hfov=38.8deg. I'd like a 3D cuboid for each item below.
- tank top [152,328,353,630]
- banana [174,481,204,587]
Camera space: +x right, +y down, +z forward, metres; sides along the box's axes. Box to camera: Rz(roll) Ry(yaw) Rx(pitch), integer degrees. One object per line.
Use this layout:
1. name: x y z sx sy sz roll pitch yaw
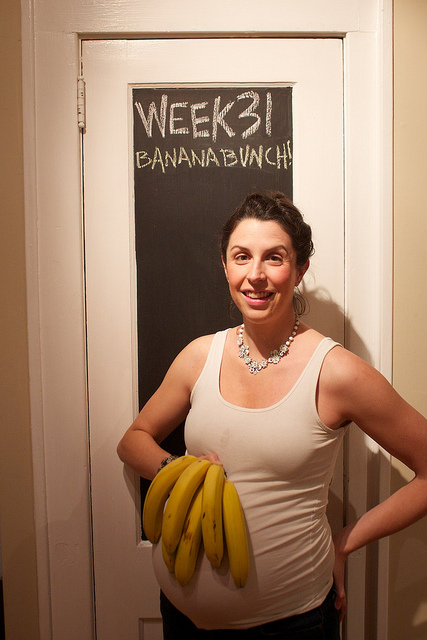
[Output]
1. tank top: 0.082 0.362 1.474 0.423 0.676 0.378 5 0 10
2. banana: -0.044 0.448 1.293 0.047 0.204 0.066 5 -7 13
